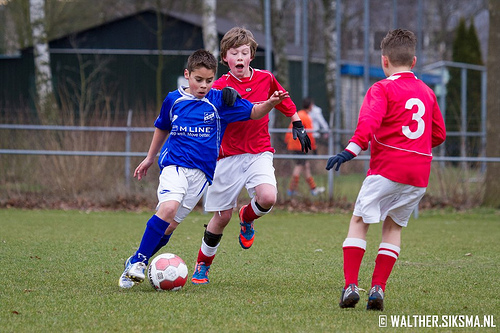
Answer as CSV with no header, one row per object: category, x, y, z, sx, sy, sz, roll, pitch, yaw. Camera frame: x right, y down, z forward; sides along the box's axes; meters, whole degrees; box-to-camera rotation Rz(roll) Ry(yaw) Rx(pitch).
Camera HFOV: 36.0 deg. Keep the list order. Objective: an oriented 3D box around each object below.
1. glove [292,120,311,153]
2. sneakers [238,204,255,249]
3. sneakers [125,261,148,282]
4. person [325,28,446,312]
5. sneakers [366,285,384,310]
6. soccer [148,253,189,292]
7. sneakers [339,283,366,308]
glove,0.673,-0.419,10.002,0.251,0.409,0.141,-14,-14,-3
sneakers,-0.065,0.858,10.416,0.185,0.623,0.259,-7,13,-23
sneakers,-1.367,1.295,9.384,0.158,0.135,0.339,-15,14,-14
person,1.655,-0.005,9.272,1.455,3.258,0.709,-8,14,-39
sneakers,1.493,1.555,9.120,0.195,0.271,0.222,3,12,9
soccer,-0.996,1.329,9.508,0.416,0.485,0.405,3,10,2
sneakers,1.183,1.540,9.119,0.227,0.282,0.158,3,11,8
